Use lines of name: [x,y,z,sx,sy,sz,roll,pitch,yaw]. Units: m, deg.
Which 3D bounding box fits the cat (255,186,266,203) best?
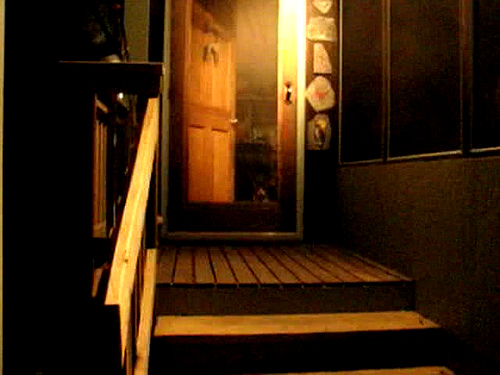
cat: [0.138,0.069,6.226,0.098,0.178,0.235,-1,-3,11]
